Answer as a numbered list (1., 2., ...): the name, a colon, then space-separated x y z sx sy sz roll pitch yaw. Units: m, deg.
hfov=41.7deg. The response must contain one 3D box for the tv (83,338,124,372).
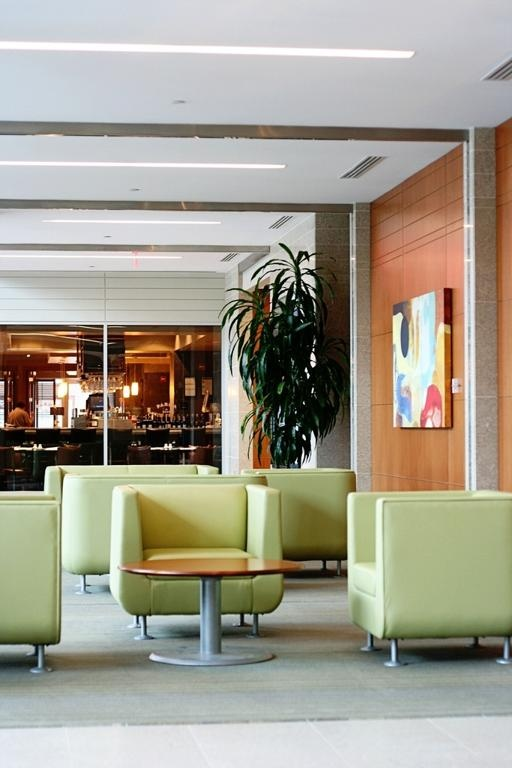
1. tv: -3.015 -0.608 13.200 0.598 0.602 0.294 1 2 -8

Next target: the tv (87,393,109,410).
1. tv: -3.115 0.401 13.424 0.502 0.512 0.276 2 -7 -15
